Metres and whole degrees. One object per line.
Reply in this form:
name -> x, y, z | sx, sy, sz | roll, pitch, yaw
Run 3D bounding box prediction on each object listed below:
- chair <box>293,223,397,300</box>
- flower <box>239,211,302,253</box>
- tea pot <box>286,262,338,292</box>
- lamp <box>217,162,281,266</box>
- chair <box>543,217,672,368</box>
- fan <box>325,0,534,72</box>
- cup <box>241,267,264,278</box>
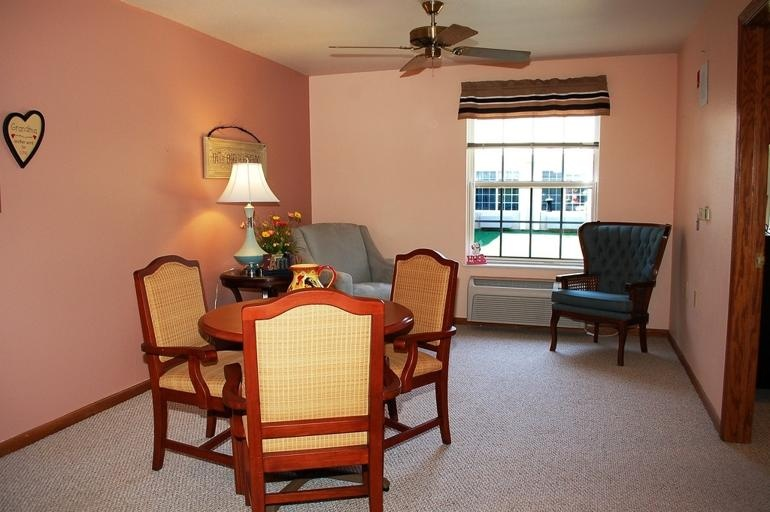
chair -> -0.359, 0.021, 6.241 | 0.887, 1.206, 0.953 | -2, 1, -35
flower -> -1.193, -0.189, 5.526 | 0.520, 0.416, 0.603 | -10, 8, 14
tea pot -> -0.495, 0.135, 3.768 | 0.349, 0.235, 0.238 | 2, -1, -8
lamp -> -1.314, -0.417, 5.238 | 0.532, 0.950, 0.780 | -1, 10, -17
chair -> 2.367, 0.305, 5.821 | 0.966, 1.352, 1.094 | 11, 13, 41
fan -> 0.470, -1.678, 4.545 | 1.173, 0.415, 1.170 | -1, -2, -9
cup -> -1.232, 0.135, 5.068 | 0.151, 0.092, 0.107 | 0, 2, -7
